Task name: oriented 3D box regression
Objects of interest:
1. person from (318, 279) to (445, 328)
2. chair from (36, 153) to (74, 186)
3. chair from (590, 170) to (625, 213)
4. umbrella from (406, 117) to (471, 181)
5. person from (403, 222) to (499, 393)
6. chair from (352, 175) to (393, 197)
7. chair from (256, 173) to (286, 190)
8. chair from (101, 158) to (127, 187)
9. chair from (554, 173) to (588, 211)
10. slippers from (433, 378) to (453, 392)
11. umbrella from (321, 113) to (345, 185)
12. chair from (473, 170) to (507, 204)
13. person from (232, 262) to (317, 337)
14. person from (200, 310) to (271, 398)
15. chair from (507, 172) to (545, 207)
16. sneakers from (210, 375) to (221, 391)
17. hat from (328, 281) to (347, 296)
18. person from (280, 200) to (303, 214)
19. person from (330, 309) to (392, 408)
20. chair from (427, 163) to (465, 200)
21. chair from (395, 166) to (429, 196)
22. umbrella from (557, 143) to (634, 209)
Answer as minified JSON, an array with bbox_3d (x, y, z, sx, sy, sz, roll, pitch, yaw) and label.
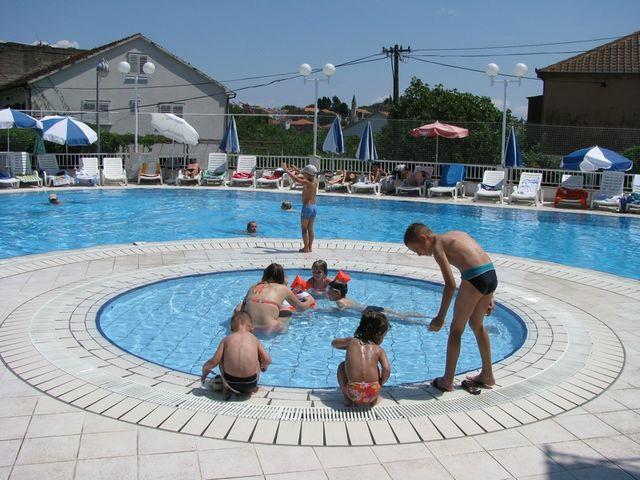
[{"bbox_3d":[0.909,0.997,7.177,1.894,0.666,0.574,9,6,18],"label":"person"},{"bbox_3d":[-11.724,-3.213,21.422,1.144,1.334,2.180,-12,29,-38],"label":"chair"},{"bbox_3d":[10.571,-1.783,17.484,1.024,1.244,1.952,7,29,29],"label":"chair"},{"bbox_3d":[5.409,-4.527,22.067,2.357,2.009,2.273,0,24,-13],"label":"umbrella"},{"bbox_3d":[1.246,0.650,4.427,0.923,1.585,0.433,3,12,8],"label":"person"},{"bbox_3d":[2.283,-2.388,21.415,1.374,1.359,1.045,6,10,19],"label":"chair"},{"bbox_3d":[-2.241,-2.716,22.159,0.741,0.496,1.199,2,8,15],"label":"chair"},{"bbox_3d":[-9.536,-3.166,22.027,1.058,1.184,0.989,-4,13,-24],"label":"chair"},{"bbox_3d":[9.437,-1.926,18.116,1.112,0.851,1.158,6,14,35],"label":"chair"},{"bbox_3d":[1.155,1.395,4.587,0.074,0.044,0.166,-7,21,-13],"label":"slippers"},{"bbox_3d":[0.787,-4.435,23.025,0.882,2.893,0.768,7,48,5],"label":"umbrella"},{"bbox_3d":[6.819,-2.140,19.238,1.099,1.035,1.619,4,17,21],"label":"chair"},{"bbox_3d":[-0.588,0.968,6.393,1.126,1.256,0.746,2,9,-21],"label":"person"},{"bbox_3d":[-0.773,1.065,4.426,0.513,0.690,0.439,-10,16,-43],"label":"person"},{"bbox_3d":[7.966,-2.038,18.380,1.003,1.008,1.516,9,16,27],"label":"chair"},{"bbox_3d":[-0.969,1.332,4.466,0.103,0.131,0.050,-5,-18,6],"label":"sneakers"},{"bbox_3d":[0.279,0.704,7.353,0.253,0.210,0.192,19,14,16],"label":"hat"},{"bbox_3d":[-0.973,-1.141,16.682,0.756,0.350,0.997,1,4,40],"label":"person"},{"bbox_3d":[0.373,1.084,4.360,0.514,0.796,0.488,3,12,9],"label":"person"},{"bbox_3d":[5.219,-2.430,19.852,1.099,1.211,1.886,8,18,35],"label":"chair"},{"bbox_3d":[4.020,-2.560,20.880,1.049,1.012,1.627,6,10,28],"label":"chair"},{"bbox_3d":[10.016,-2.308,17.436,2.555,2.134,2.501,-10,19,-33],"label":"umbrella"}]
